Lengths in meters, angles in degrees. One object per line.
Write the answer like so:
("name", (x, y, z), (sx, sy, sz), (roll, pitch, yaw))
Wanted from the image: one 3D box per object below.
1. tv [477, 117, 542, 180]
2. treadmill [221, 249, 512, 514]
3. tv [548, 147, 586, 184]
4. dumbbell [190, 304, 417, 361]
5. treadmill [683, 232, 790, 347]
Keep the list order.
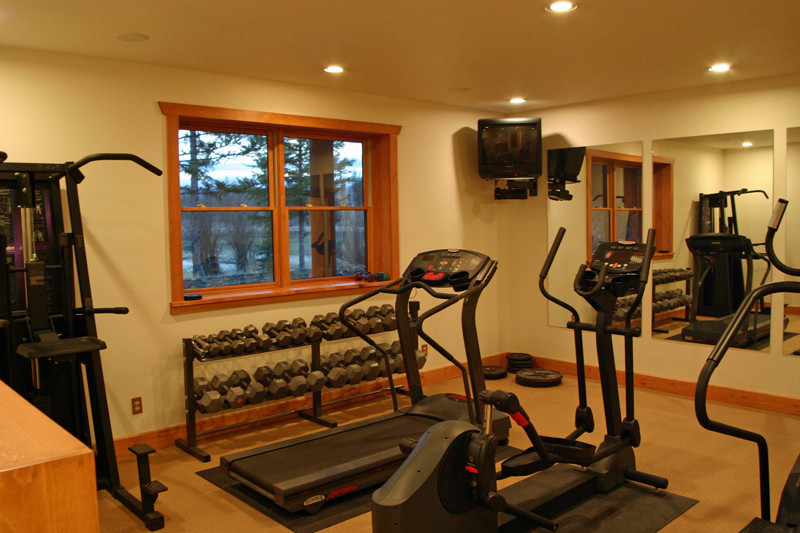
("tv", (1.339, -1.460, 7.386), (0.734, 0.738, 0.199), (0, 10, 20))
("treadmill", (-0.565, 0.905, 5.434), (2.755, 2.038, 1.884), (-2, 6, -43))
("tv", (2.104, -1.316, 7.652), (0.511, 0.455, 0.430), (1, 0, -44))
("dumbbell", (-1.124, 0.668, 6.105), (2.293, 0.372, 0.597), (-2, 6, -43))
("treadmill", (3.979, 0.198, 6.953), (1.202, 1.655, 1.013), (5, 8, 38))
